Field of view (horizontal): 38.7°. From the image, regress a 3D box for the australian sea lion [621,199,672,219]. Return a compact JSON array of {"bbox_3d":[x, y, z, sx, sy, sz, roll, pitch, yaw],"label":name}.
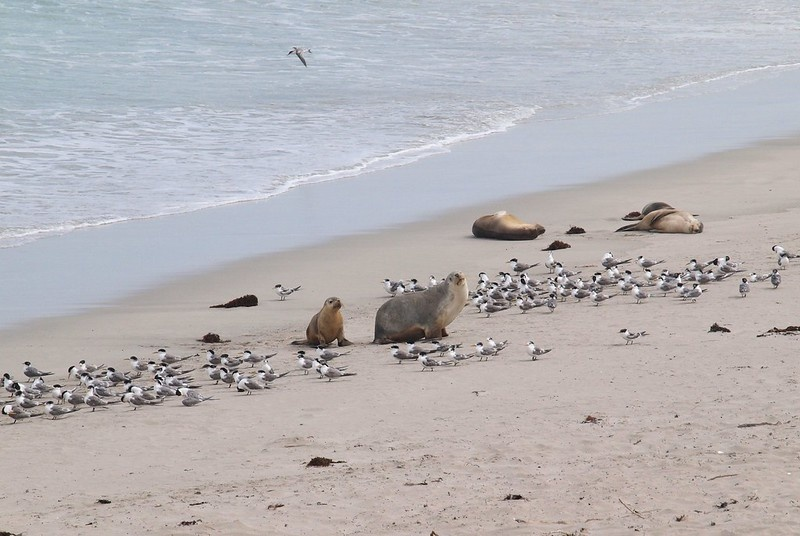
[{"bbox_3d":[7.429,-1.768,34.880,1.192,0.300,0.768,-7,14,40],"label":"australian sea lion"}]
